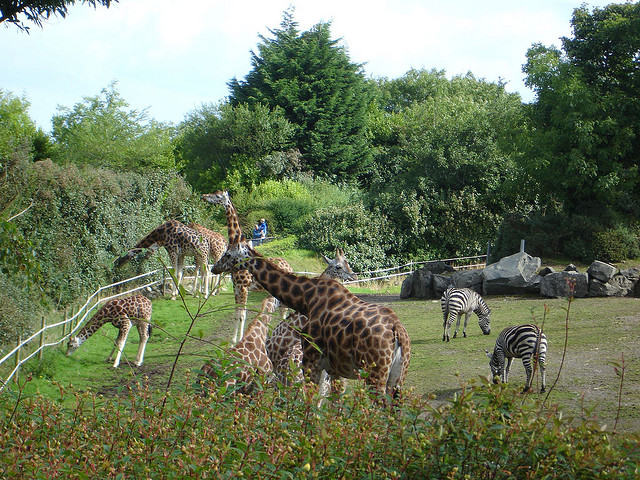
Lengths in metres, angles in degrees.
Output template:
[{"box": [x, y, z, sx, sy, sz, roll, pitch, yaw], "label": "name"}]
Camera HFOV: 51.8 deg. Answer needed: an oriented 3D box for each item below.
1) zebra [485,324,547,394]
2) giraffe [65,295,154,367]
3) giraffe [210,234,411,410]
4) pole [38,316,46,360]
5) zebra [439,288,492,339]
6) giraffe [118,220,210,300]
[{"box": [3.751, 2.325, 12.692, 0.529, 1.252, 2.218, 3, -12, -8], "label": "zebra"}, {"box": [-4.500, 2.015, 14.277, 1.655, 1.407, 1.237, -3, 6, -20], "label": "giraffe"}, {"box": [-0.246, 1.339, 10.396, 3.183, 2.566, 0.831, 11, 11, 13], "label": "giraffe"}, {"box": [-5.828, 2.020, 13.742, 0.164, 0.867, 0.374, -4, 6, -24], "label": "pole"}, {"box": [3.561, 1.856, 16.521, 0.782, 1.272, 1.483, 4, 8, 43], "label": "zebra"}, {"box": [-4.447, 0.621, 20.017, 2.344, 2.357, 1.776, -1, 6, 2], "label": "giraffe"}]
